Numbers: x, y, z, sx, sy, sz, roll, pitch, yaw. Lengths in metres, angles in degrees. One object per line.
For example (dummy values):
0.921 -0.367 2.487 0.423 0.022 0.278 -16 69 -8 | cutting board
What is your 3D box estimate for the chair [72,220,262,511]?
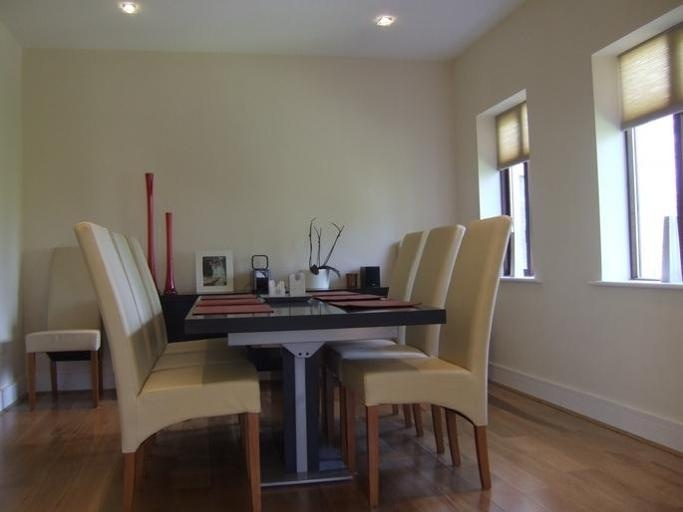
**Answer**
-1.123 0.724 3.369 0.649 1.158 1.522 -2 -1 -13 | chair
